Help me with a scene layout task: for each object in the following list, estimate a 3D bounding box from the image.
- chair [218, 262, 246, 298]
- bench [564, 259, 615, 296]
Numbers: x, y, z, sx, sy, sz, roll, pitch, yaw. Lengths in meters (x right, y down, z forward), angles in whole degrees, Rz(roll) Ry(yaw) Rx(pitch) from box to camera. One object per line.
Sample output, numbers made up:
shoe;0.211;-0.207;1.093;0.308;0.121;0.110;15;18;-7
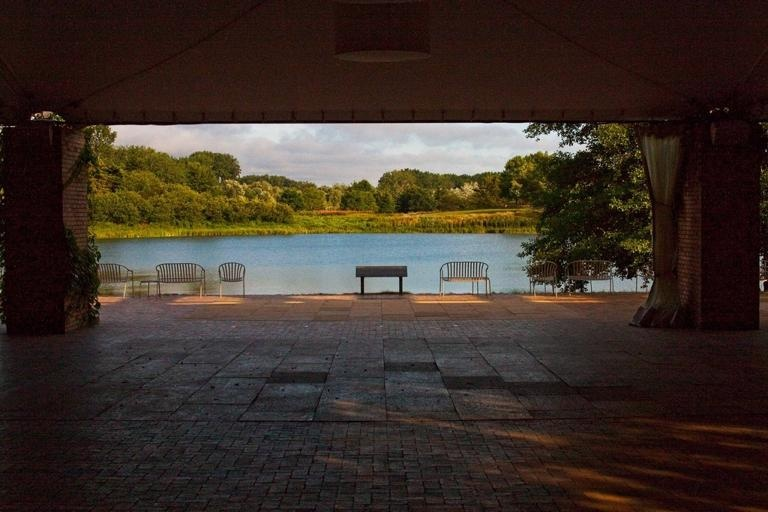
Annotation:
chair;-4.118;0.691;17.420;0.919;1.187;0.927;0;6;-11
bench;5.540;0.577;17.635;1.213;0.717;0.437;0;-3;2
